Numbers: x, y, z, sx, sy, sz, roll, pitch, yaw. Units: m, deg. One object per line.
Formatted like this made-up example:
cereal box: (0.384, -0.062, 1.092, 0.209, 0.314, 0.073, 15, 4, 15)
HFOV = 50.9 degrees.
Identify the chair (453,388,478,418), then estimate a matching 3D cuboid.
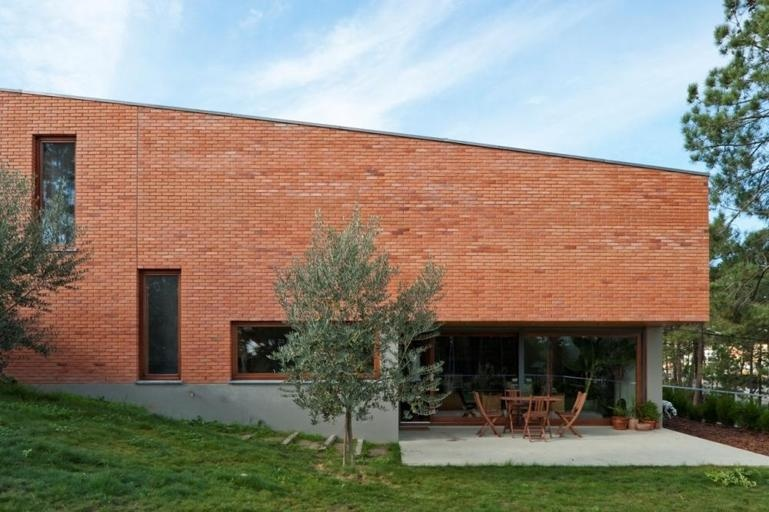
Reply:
chair: (2.719, 4.897, 26.927, 0.772, 0.936, 0.646, 2, -5, 5)

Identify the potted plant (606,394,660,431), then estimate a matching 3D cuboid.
potted plant: (8.135, 5.072, 26.237, 1.112, 0.745, 1.079, 1, -3, -12)
